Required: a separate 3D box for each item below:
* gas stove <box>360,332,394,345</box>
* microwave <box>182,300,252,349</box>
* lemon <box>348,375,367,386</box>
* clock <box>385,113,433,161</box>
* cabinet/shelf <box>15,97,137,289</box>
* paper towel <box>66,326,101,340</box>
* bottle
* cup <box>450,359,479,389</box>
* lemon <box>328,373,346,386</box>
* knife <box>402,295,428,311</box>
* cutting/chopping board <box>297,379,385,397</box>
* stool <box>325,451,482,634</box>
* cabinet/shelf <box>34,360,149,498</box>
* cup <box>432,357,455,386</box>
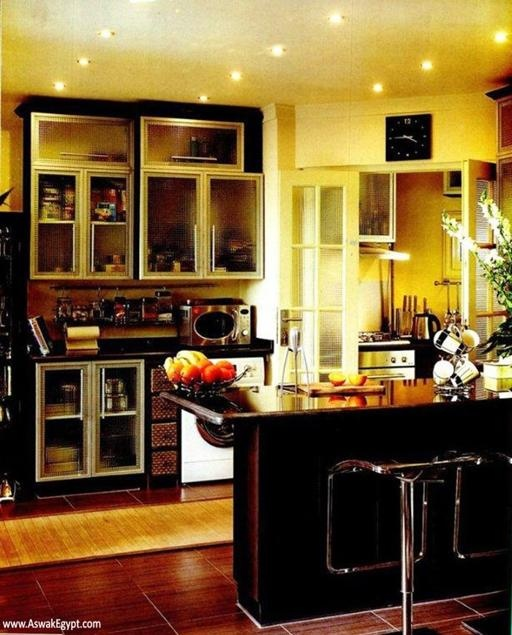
[{"bbox_3d":[1.003,0.165,4.983,0.283,0.111,0.834,-1,-3,10],"label":"gas stove"},{"bbox_3d":[-0.275,0.036,4.497,0.457,0.296,0.324,-1,9,-6],"label":"microwave"},{"bbox_3d":[0.418,0.250,2.430,0.050,0.032,0.050,1,-3,1],"label":"lemon"},{"bbox_3d":[1.091,-1.283,4.220,0.345,0.343,0.046,1,4,22],"label":"clock"},{"bbox_3d":[-1.203,-0.814,4.249,0.718,1.077,0.375,2,8,-8],"label":"cabinet/shelf"},{"bbox_3d":[-1.169,0.102,4.029,0.203,0.089,0.066,0,-3,-12],"label":"paper towel"},{"bbox_3d":[-1.009,-0.071,4.401,0.881,0.251,0.245,0,-3,-21],"label":"bottle"},{"bbox_3d":[0.854,0.219,2.423,0.083,0.111,0.217,-3,-4,38],"label":"cup"},{"bbox_3d":[0.338,0.247,2.441,0.052,0.035,0.051,-2,5,-11],"label":"lemon"},{"bbox_3d":[1.488,-0.138,5.652,0.147,0.135,0.051,2,-6,-18],"label":"knife"},{"bbox_3d":[0.339,0.283,2.368,0.344,0.036,0.315,-1,-3,2],"label":"cutting/chopping board"},{"bbox_3d":[0.460,0.723,1.926,0.459,0.655,0.697,-1,-3,4],"label":"stool"},{"bbox_3d":[-1.114,0.721,3.966,0.919,1.009,0.353,0,-1,-27],"label":"cabinet/shelf"},{"bbox_3d":[0.741,0.216,2.423,0.090,0.104,0.104,0,-6,4],"label":"cup"}]
